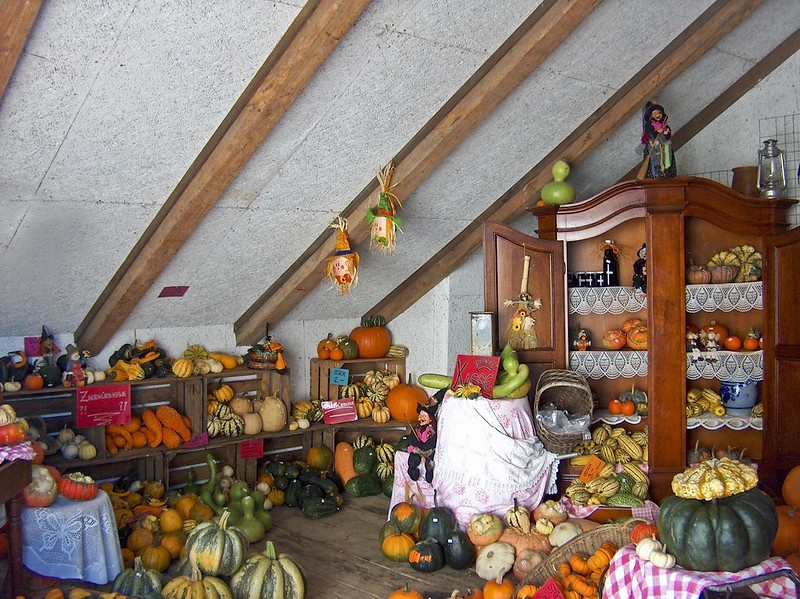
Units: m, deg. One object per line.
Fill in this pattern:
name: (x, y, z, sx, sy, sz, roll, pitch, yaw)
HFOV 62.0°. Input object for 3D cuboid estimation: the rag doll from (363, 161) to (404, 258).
rag doll: (-0.124, -0.657, 4.739, 0.243, 0.544, 0.366, 1, -8, 0)

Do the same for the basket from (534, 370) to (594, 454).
basket: (1.191, 0.776, 5.013, 0.412, 0.529, 0.628, 2, 36, 5)

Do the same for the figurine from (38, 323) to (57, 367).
figurine: (-2.608, 0.314, 4.888, 0.132, 0.228, 0.101, -6, -9, -14)

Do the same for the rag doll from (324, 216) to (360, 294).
rag doll: (-0.442, -0.339, 5.020, 0.228, 0.506, 0.365, 2, -8, -7)

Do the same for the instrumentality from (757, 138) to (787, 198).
instrumentality: (2.804, -0.975, 5.041, 0.206, 0.440, 0.157, -2, 5, 12)

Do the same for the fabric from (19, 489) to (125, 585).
fabric: (-2.044, 1.487, 4.151, 0.621, 0.490, 0.452, 3, 0, 37)

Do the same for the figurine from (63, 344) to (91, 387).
figurine: (-2.384, 0.473, 4.893, 0.214, 0.311, 0.174, -4, 7, -24)

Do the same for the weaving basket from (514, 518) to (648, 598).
weaving basket: (1.089, 1.488, 3.998, 0.507, 0.183, 0.514, -17, -13, -15)

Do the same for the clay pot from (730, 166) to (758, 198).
clay pot: (2.602, -0.880, 5.135, 0.217, 0.256, 0.227, 1, -4, 0)

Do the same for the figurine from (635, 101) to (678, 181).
figurine: (1.927, -1.164, 4.979, 0.219, 0.611, 0.282, -2, -9, 21)

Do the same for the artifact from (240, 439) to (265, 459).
artifact: (-1.258, 1.239, 5.584, 0.199, 0.202, 0.050, -1, 5, -21)

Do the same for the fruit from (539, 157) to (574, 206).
fruit: (1.241, -0.887, 5.199, 0.257, 0.376, 0.259, 0, 9, -4)

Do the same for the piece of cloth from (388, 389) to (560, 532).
piece of cloth: (0.557, 1.087, 4.942, 1.106, 1.007, 0.831, 3, 10, 15)

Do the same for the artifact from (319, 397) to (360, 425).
artifact: (-0.541, 0.989, 5.909, 0.331, 0.239, 0.189, -4, -16, -13)

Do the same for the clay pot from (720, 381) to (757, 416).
clay pot: (2.600, 0.750, 5.112, 0.237, 0.248, 0.247, 0, 1, 0)

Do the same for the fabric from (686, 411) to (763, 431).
fabric: (2.458, 0.919, 5.024, 0.405, 0.094, 0.233, 0, -1, 7)
